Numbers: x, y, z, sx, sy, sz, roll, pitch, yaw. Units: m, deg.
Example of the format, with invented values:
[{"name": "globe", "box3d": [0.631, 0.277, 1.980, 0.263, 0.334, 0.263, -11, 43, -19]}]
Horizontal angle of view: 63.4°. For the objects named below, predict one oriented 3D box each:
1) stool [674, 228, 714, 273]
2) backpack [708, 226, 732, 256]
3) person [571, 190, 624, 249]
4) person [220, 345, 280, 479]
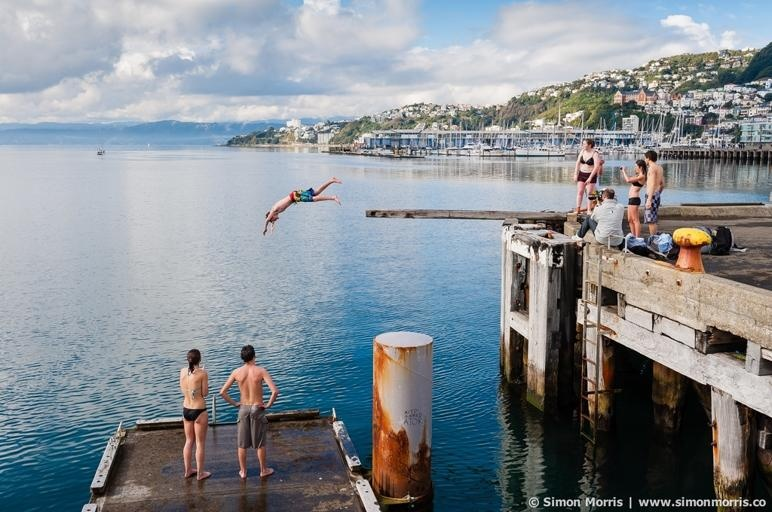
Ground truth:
[{"name": "stool", "box3d": [6.775, -0.158, 13.890, 0.745, 0.898, 0.921, 0, 10, -6]}, {"name": "backpack", "box3d": [9.233, -0.386, 17.303, 0.660, 0.899, 0.328, 11, -24, 20]}, {"name": "person", "box3d": [5.752, -1.015, 16.599, 0.964, 1.367, 1.413, 1, 6, -17]}, {"name": "person", "box3d": [-2.923, 3.343, 13.506, 0.874, 3.000, 1.259, -10, 16, -34]}]
